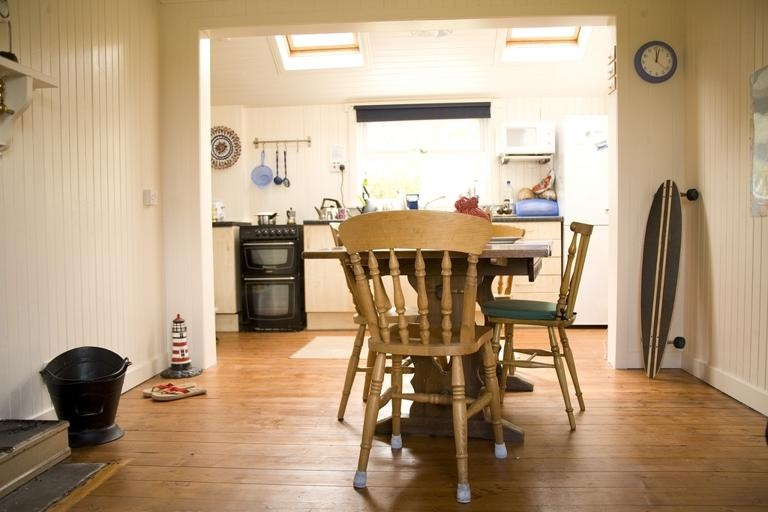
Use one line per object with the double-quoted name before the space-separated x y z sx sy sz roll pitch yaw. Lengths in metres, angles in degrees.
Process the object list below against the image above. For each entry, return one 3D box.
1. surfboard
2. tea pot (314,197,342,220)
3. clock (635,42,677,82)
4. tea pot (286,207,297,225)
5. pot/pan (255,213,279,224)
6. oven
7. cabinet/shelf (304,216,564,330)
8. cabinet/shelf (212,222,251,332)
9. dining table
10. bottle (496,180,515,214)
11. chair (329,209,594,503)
"surfboard" 2.034 0.138 4.310 0.211 1.383 0.405 -4 12 -44
"tea pot" -0.589 -0.513 6.415 0.378 0.295 0.214 -1 2 -16
"clock" 2.031 -1.453 4.357 0.314 0.297 0.033 -1 0 5
"tea pot" -1.015 -0.430 6.335 0.123 0.199 0.211 1 4 11
"pot/pan" -1.237 -0.390 6.192 0.175 0.085 0.182 0 1 7
"oven" -1.089 0.299 6.286 0.822 0.899 0.761 -1 0 -3
"cabinet/shelf" 0.420 0.102 3.733 1.168 0.534 0.582 -2 -7 5
"cabinet/shelf" -1.586 0.213 6.029 0.339 1.117 0.316 -3 13 -8
"dining table" 0.335 0.553 3.770 1.294 1.001 1.263 -1 -5 4
"bottle" 1.318 -0.631 6.285 0.177 0.341 0.428 2 13 13
"chair" 0.229 0.435 3.112 0.884 1.405 0.882 0 13 5
